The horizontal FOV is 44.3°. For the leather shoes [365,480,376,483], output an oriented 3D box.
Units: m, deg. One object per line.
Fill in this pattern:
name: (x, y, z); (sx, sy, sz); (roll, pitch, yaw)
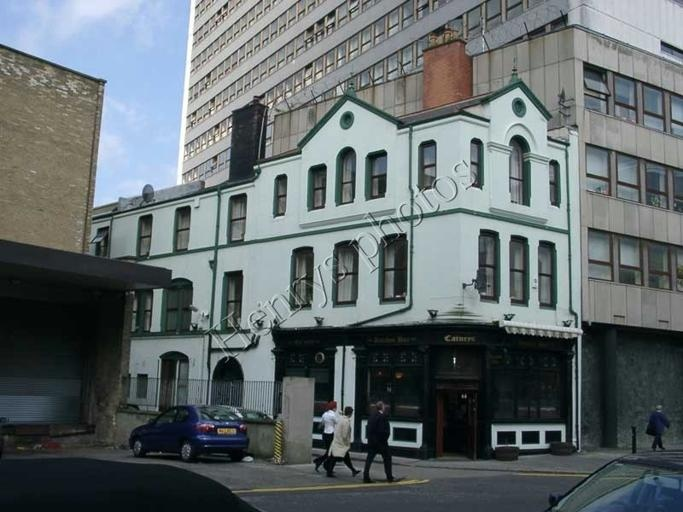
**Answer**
leather shoes: (0.842, 6.715, 25.057); (0.143, 0.118, 0.466); (-8, -18, 29)

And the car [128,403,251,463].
car: (-5.292, 6.052, 28.827); (3.710, 1.551, 1.860); (-6, -15, 41)
